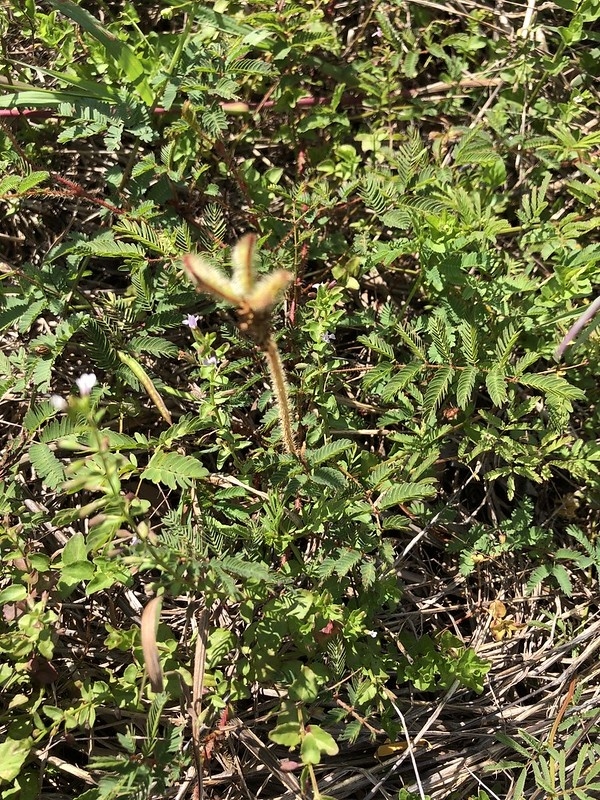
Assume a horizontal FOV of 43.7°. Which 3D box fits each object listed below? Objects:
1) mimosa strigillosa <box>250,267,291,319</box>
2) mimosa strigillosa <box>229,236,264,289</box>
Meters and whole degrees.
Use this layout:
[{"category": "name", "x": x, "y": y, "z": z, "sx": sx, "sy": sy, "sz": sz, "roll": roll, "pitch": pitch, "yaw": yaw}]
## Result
[{"category": "mimosa strigillosa", "x": -0.080, "y": -0.267, "z": 1.863, "sx": 0.115, "sy": 0.144, "sz": 0.055, "roll": -21, "pitch": 63, "yaw": -13}, {"category": "mimosa strigillosa", "x": -0.107, "y": -0.345, "z": 1.858, "sx": 0.045, "sy": 0.044, "sz": 0.137, "roll": -5, "pitch": 68, "yaw": 36}]
